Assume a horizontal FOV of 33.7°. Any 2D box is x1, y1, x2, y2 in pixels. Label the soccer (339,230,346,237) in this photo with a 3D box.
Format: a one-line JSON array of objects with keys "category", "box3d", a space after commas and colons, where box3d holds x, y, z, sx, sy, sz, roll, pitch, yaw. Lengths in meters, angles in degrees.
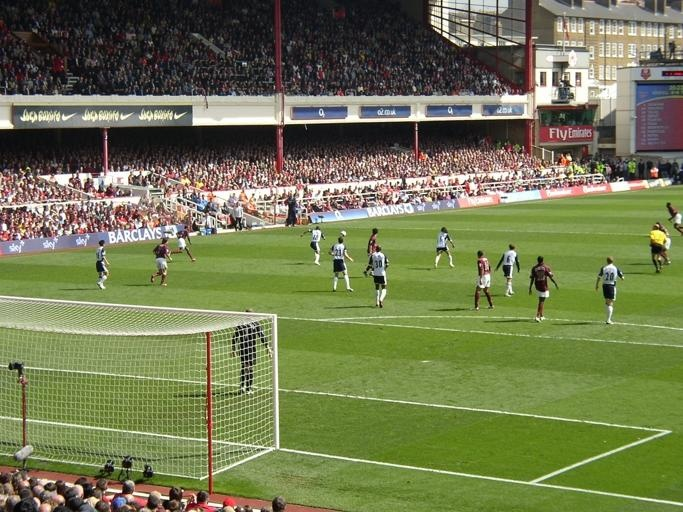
[{"category": "soccer", "box3d": [0.072, -0.934, 46.679, 0.176, 0.240, 0.344, -36, -1, -5]}]
